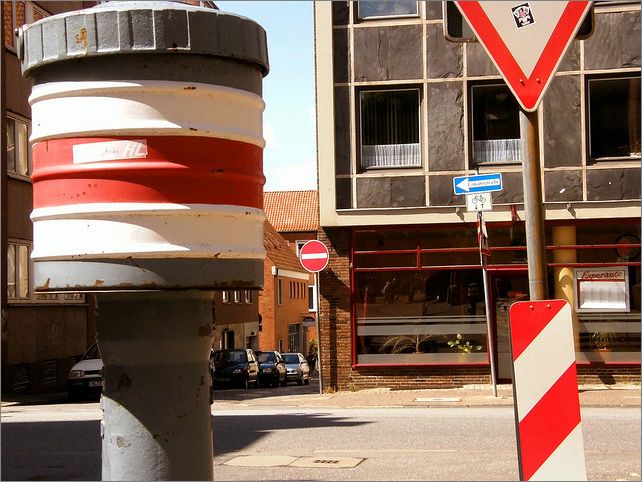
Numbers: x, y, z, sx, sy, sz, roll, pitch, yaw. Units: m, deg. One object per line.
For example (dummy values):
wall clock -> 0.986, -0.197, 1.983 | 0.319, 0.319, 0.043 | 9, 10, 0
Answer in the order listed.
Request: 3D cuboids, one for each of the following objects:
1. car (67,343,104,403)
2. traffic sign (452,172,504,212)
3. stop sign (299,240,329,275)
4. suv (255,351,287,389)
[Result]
car -> -5.382, 2.998, 25.302 | 0.729, 1.214, 1.591 | -2, -4, -13
traffic sign -> 2.929, -0.893, 20.778 | 0.743, 0.628, 0.031 | -1, 5, 30
stop sign -> -0.145, 0.299, 21.830 | 0.544, 0.708, 0.080 | -2, -29, 0
suv -> -1.760, 4.516, 39.208 | 0.905, 1.235, 2.245 | -3, -4, -3
